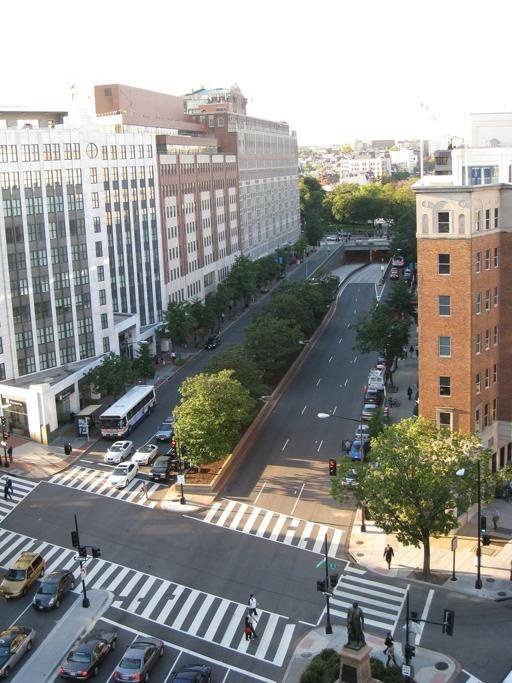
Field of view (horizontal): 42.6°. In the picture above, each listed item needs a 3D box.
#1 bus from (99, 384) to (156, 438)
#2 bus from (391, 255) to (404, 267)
[{"bbox_3d":[-13.848,7.411,72.479,2.601,2.389,9.491,-3,12,9],"label":"bus"},{"bbox_3d":[34.678,-19.417,159.012,1.845,1.613,3.081,3,29,13],"label":"bus"}]
